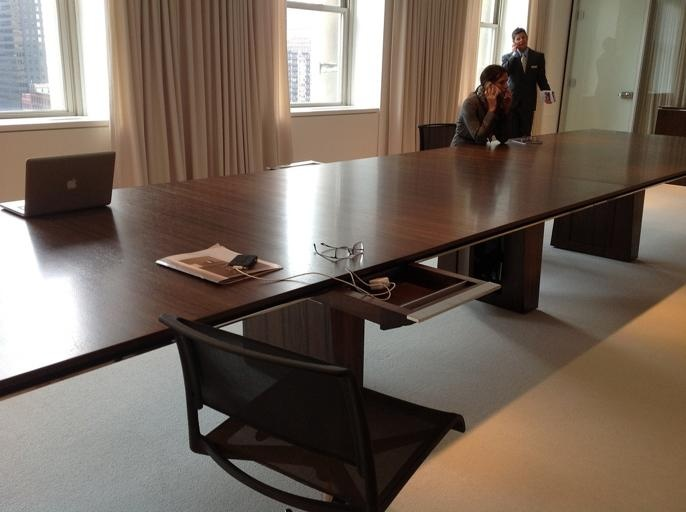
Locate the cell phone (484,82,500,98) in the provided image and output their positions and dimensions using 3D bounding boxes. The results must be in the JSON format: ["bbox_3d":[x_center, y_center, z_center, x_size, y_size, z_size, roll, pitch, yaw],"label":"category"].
[{"bbox_3d":[1.189,-1.332,4.049,0.101,0.141,0.122,16,11,-4],"label":"cell phone"}]

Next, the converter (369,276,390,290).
[{"bbox_3d":[0.104,0.086,1.517,0.061,0.035,0.040,0,20,-1],"label":"converter"}]

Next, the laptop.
[{"bbox_3d":[-1.112,-0.291,2.026,0.384,0.274,0.296,-14,31,-43],"label":"laptop"}]

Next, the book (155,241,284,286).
[{"bbox_3d":[-0.384,0.019,1.556,0.354,0.032,0.219,12,24,29],"label":"book"}]
